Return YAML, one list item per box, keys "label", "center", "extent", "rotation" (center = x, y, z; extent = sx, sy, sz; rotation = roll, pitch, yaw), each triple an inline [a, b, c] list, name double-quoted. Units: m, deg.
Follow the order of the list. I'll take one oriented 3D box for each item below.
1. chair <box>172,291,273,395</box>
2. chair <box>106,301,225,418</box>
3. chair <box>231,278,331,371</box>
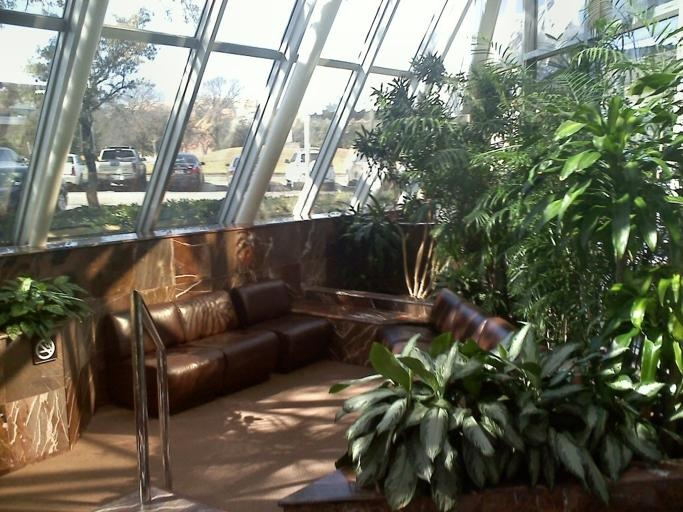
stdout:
- label: "chair"
  center: [-1.264, 0.943, 5.603]
  extent: [0.979, 0.996, 1.045]
  rotation: [7, 14, 36]
- label: "chair"
  center: [-1.630, 1.004, 5.264]
  extent: [1.148, 1.029, 1.492]
  rotation: [1, 6, 25]
- label: "chair"
  center: [-0.714, 0.726, 6.209]
  extent: [1.085, 0.981, 1.050]
  rotation: [5, 11, 33]
